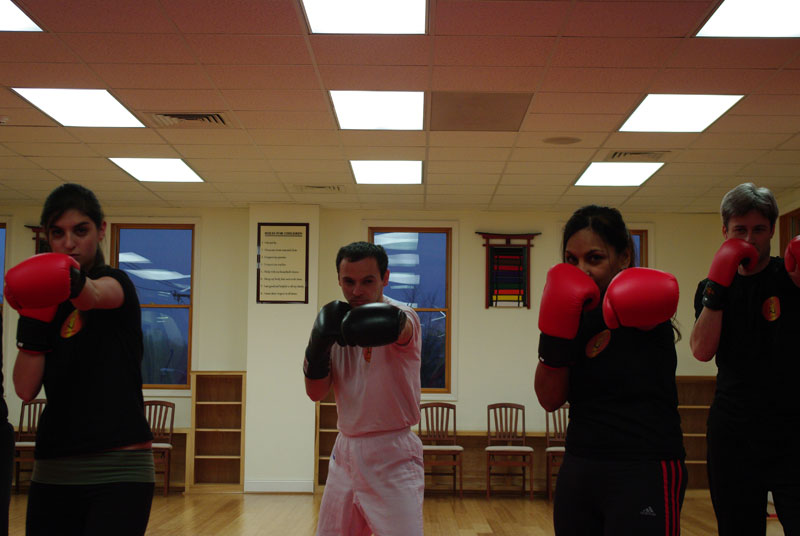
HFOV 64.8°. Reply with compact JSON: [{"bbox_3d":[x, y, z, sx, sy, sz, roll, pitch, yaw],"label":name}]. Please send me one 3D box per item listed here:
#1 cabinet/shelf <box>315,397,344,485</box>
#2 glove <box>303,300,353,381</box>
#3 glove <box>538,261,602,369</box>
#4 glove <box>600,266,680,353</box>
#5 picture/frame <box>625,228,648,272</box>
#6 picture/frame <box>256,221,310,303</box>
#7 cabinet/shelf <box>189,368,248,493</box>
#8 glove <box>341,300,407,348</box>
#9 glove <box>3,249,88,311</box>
[{"bbox_3d":[-0.960,2.331,8.192,0.215,0.992,0.172,3,-7,-10],"label":"cabinet/shelf"},{"bbox_3d":[-0.325,0.354,3.101,0.210,0.391,0.343,5,-8,-32],"label":"glove"},{"bbox_3d":[0.720,0.198,2.666,0.259,0.375,0.236,11,17,12],"label":"glove"},{"bbox_3d":[0.977,0.135,2.569,0.307,0.283,0.234,5,29,28],"label":"glove"},{"bbox_3d":[3.278,-0.247,8.710,0.308,0.549,0.039,3,-6,-42],"label":"picture/frame"},{"bbox_3d":[-1.575,-0.070,8.449,0.769,1.133,0.039,1,0,12],"label":"picture/frame"},{"bbox_3d":[-2.385,2.134,8.192,0.753,1.476,0.453,1,-12,-12],"label":"cabinet/shelf"},{"bbox_3d":[-0.122,0.251,2.871,0.248,0.183,0.114,-5,-34,21],"label":"glove"},{"bbox_3d":[-1.483,0.051,2.592,0.214,0.130,0.286,-4,-31,-10],"label":"glove"}]
